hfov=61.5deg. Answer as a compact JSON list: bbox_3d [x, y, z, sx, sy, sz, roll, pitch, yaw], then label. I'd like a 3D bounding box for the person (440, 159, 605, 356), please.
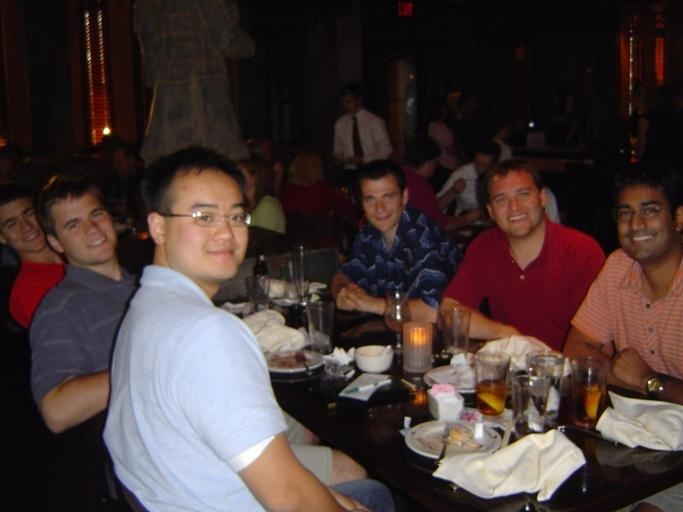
[{"bbox_3d":[0.991,0.084,3.152,0.845,1.174,0.685,2,23,38],"label":"person"}]

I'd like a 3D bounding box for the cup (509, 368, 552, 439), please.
[{"bbox_3d":[0.638,0.522,1.934,0.126,0.131,0.203,-7,50,24],"label":"cup"}]

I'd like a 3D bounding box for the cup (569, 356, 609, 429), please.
[{"bbox_3d":[0.852,0.472,1.999,0.119,0.204,0.120,-1,4,0],"label":"cup"}]

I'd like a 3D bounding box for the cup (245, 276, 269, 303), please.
[{"bbox_3d":[-0.477,0.183,3.296,0.140,0.232,0.141,1,8,0],"label":"cup"}]

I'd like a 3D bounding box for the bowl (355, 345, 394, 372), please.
[{"bbox_3d":[0.136,0.413,2.378,0.116,0.071,0.115,0,-4,0],"label":"bowl"}]

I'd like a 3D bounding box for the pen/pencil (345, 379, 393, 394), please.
[{"bbox_3d":[0.106,0.499,2.193,0.187,0.027,0.025,-3,6,-40],"label":"pen/pencil"}]

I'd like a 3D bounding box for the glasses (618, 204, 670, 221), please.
[{"bbox_3d":[1.283,-0.185,2.451,0.211,0.082,0.064,0,10,28],"label":"glasses"}]

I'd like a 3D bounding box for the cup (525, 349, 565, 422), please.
[{"bbox_3d":[0.744,0.458,2.093,0.139,0.237,0.145,0,1,0],"label":"cup"}]

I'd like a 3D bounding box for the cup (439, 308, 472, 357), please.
[{"bbox_3d":[0.498,0.330,2.534,0.133,0.228,0.140,1,-9,0],"label":"cup"}]

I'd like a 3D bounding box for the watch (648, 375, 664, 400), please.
[{"bbox_3d":[1.180,0.490,2.161,0.048,0.081,0.072,2,1,39],"label":"watch"}]

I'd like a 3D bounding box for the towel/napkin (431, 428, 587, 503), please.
[{"bbox_3d":[0.518,0.626,1.695,0.307,0.067,0.209,-19,17,-22],"label":"towel/napkin"}]
